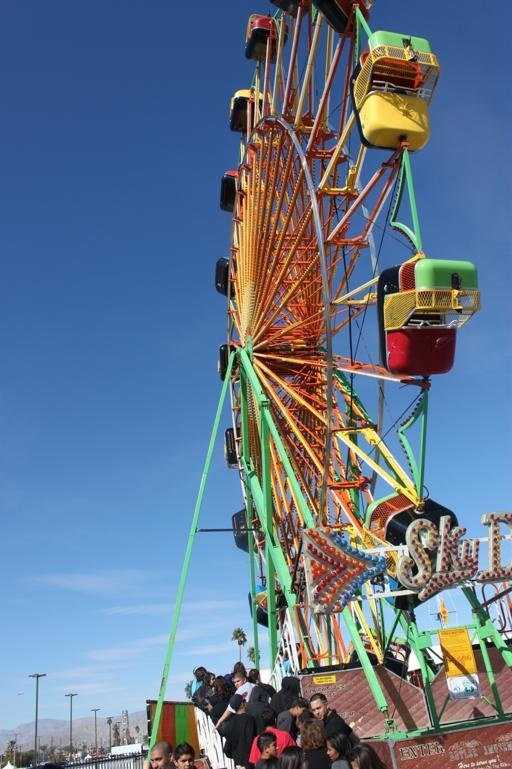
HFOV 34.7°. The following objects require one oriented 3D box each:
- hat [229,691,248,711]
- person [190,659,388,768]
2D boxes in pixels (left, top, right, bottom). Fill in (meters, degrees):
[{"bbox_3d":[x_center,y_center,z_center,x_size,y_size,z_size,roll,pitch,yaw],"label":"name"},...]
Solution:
[{"bbox_3d":[-0.208,3.569,9.226,0.204,0.265,0.266,7,-17,-1],"label":"hat"},{"bbox_3d":[0.559,4.687,11.583,2.783,1.177,1.349,-4,-19,0],"label":"person"}]
